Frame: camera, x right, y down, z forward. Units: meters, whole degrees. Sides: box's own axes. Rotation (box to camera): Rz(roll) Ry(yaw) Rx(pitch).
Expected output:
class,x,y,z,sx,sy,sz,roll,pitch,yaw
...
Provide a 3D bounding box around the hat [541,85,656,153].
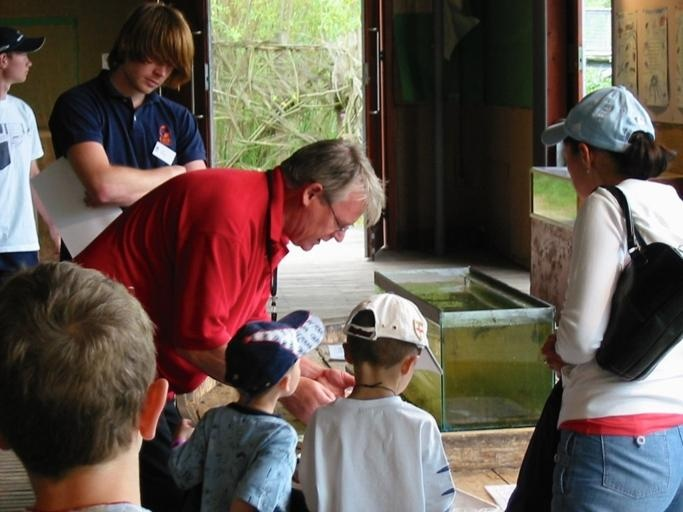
class,x,y,z,sx,sy,sz,roll,pitch,yaw
hat,0.777,-0.418,1.836,0.277,0.192,0.205,20,22,30

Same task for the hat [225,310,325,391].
class,x,y,z,sx,sy,sz,roll,pitch,yaw
hat,-0.176,0.241,1.640,0.253,0.096,0.160,-36,57,-26

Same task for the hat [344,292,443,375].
class,x,y,z,sx,sy,sz,roll,pitch,yaw
hat,0.200,0.204,1.856,0.309,0.194,0.216,29,-10,-25

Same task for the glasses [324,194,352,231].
class,x,y,z,sx,sy,sz,roll,pitch,yaw
glasses,-0.013,-0.131,1.857,0.028,0.111,0.077,-9,0,17
